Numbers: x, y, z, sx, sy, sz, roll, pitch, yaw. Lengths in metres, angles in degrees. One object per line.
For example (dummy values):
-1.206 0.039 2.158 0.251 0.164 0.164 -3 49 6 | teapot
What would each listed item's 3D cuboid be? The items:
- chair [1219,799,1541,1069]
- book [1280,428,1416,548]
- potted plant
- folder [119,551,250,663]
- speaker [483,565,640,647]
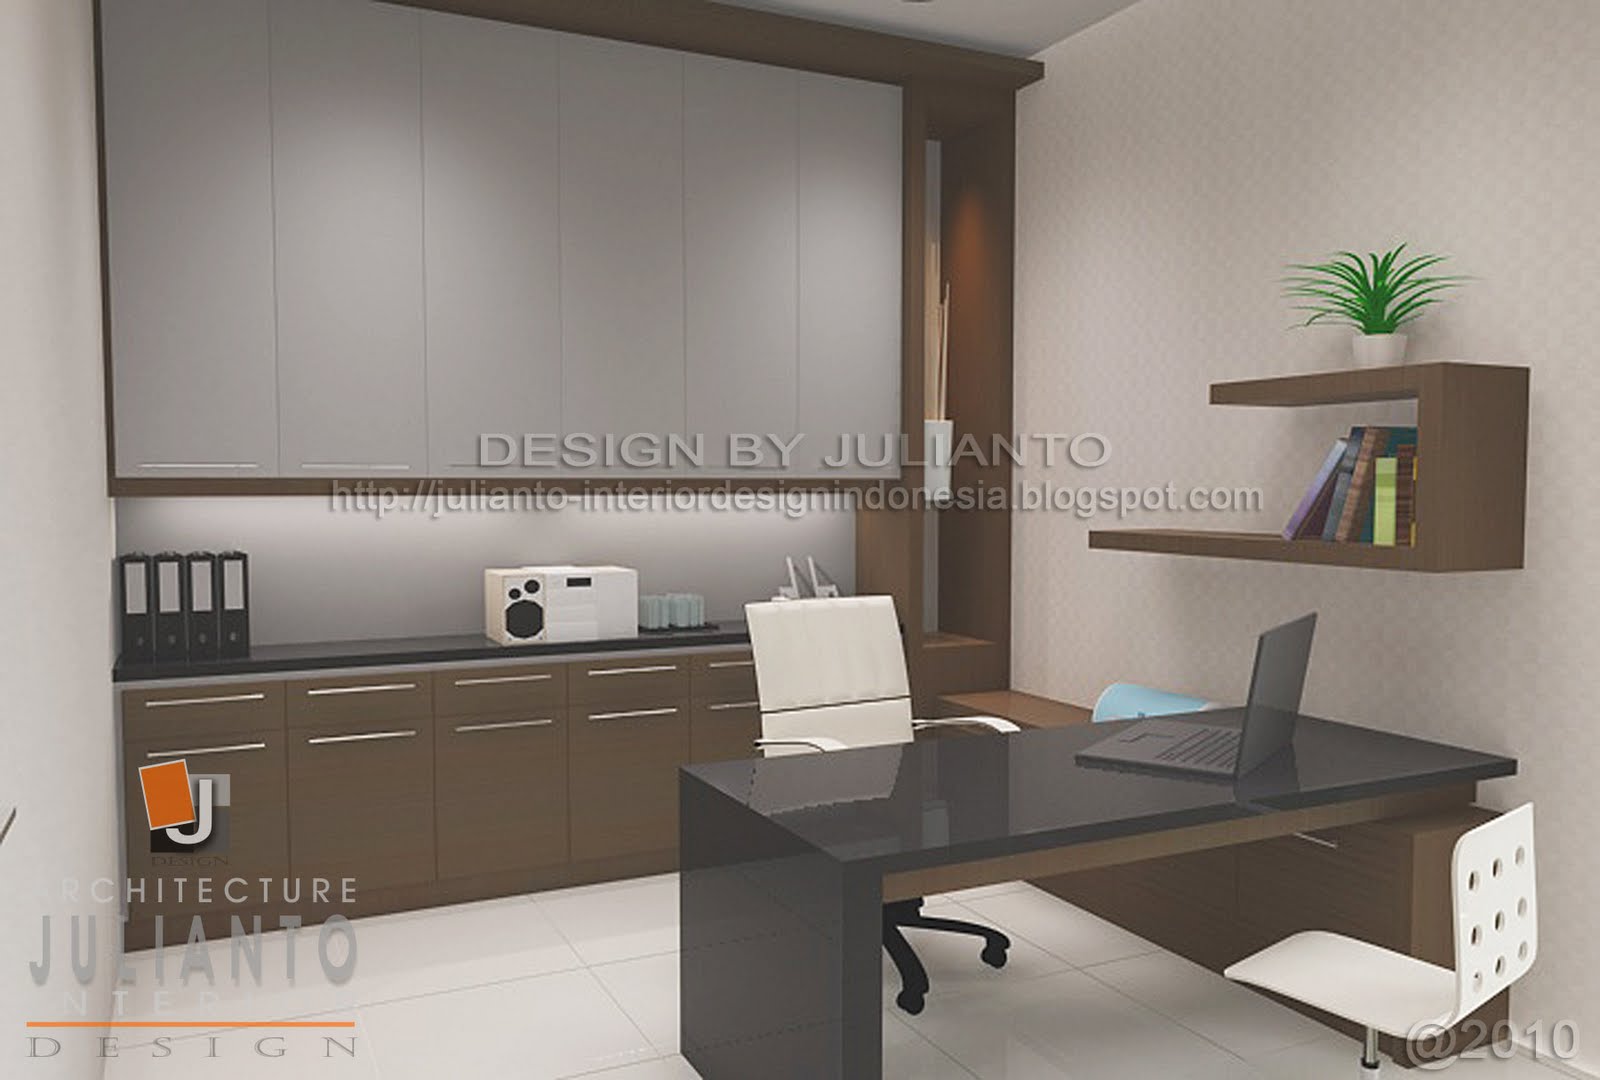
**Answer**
1.697 1.034 3.275 0.679 0.618 0.402 8 14 33 | chair
2.088 -0.181 4.332 0.391 0.489 0.504 8 4 -12 | book
2.235 -0.915 4.541 0.501 0.326 0.490 2 -3 -23 | potted plant
-2.617 0.287 4.822 0.465 0.450 0.149 -1 1 -28 | folder
-1.142 0.293 5.419 0.701 0.338 0.364 -3 12 -14 | speaker
